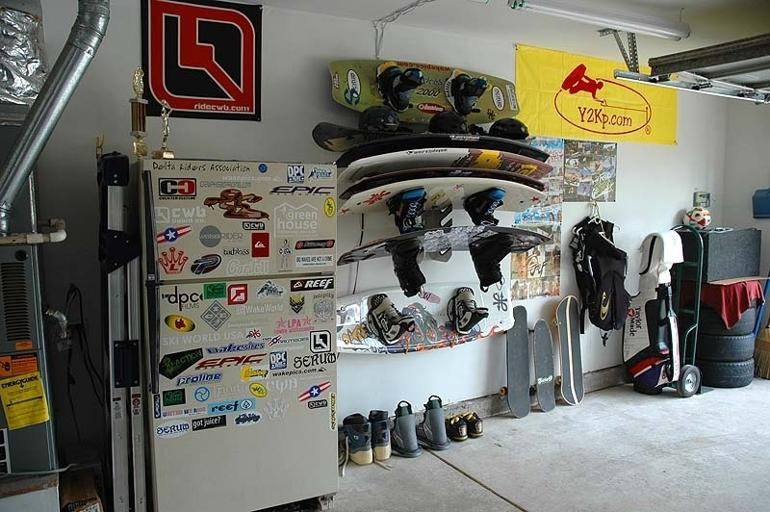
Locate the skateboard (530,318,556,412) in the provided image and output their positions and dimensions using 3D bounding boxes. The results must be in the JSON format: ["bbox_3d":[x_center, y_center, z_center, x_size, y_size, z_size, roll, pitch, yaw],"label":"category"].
[{"bbox_3d":[1.500,1.028,5.339,0.234,0.841,0.123,-2,-3,-26],"label":"skateboard"}]

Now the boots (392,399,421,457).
[{"bbox_3d":[0.158,1.452,4.590,0.186,0.302,0.453,-1,4,-10],"label":"boots"}]

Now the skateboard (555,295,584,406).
[{"bbox_3d":[1.787,0.915,5.547,0.286,1.070,0.144,3,-6,-24],"label":"skateboard"}]

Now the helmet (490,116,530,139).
[{"bbox_3d":[1.007,-1.076,4.611,0.261,0.092,0.182,-3,19,-21],"label":"helmet"}]

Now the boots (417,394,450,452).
[{"bbox_3d":[0.394,1.430,4.732,0.220,0.338,0.457,-2,7,-8],"label":"boots"}]

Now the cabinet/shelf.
[{"bbox_3d":[3.550,0.516,5.988,1.349,1.693,0.613,-4,12,-16],"label":"cabinet/shelf"}]

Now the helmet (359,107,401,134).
[{"bbox_3d":[-0.042,-1.060,4.328,0.264,0.230,0.205,-7,3,27],"label":"helmet"}]

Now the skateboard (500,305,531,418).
[{"bbox_3d":[1.221,0.980,5.294,0.268,1.013,0.145,3,-3,-23],"label":"skateboard"}]

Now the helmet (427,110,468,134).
[{"bbox_3d":[0.470,-1.014,4.343,0.246,0.188,0.225,0,4,18],"label":"helmet"}]

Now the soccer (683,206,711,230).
[{"bbox_3d":[3.444,-0.436,6.247,0.186,0.196,0.232,7,37,-25],"label":"soccer"}]

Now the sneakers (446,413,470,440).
[{"bbox_3d":[0.606,1.490,4.876,0.095,0.130,0.290,-1,-2,-19],"label":"sneakers"}]

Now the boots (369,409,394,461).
[{"bbox_3d":[-0.077,1.501,4.750,0.172,0.352,0.527,0,-14,-20],"label":"boots"}]

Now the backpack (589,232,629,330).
[{"bbox_3d":[2.257,0.235,5.627,0.469,1.004,0.164,-3,12,-14],"label":"backpack"}]

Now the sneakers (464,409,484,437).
[{"bbox_3d":[0.774,1.465,4.929,0.102,0.115,0.257,-5,19,-18],"label":"sneakers"}]
